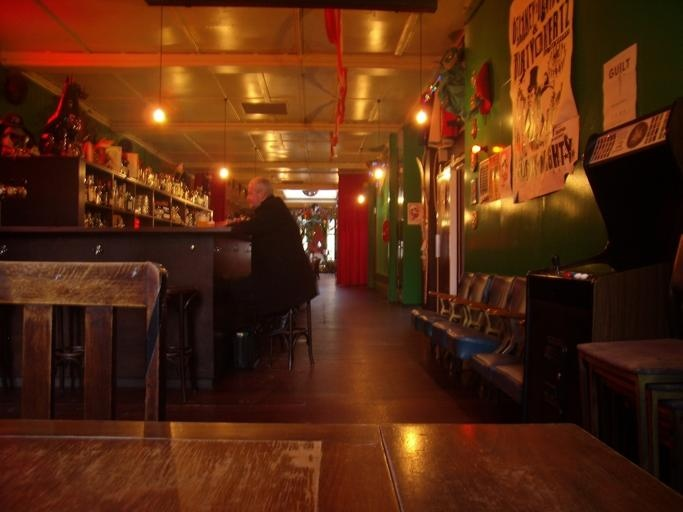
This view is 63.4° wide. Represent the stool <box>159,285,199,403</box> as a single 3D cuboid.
[{"bbox_3d":[-1.228,0.623,4.078,0.354,0.690,0.378,-1,-7,4],"label":"stool"}]

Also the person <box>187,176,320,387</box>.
[{"bbox_3d":[-0.676,0.106,4.996,0.880,1.566,0.754,2,2,5],"label":"person"}]

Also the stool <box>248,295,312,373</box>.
[{"bbox_3d":[-0.470,0.720,5.297,0.401,0.649,0.418,0,-2,0],"label":"stool"}]
